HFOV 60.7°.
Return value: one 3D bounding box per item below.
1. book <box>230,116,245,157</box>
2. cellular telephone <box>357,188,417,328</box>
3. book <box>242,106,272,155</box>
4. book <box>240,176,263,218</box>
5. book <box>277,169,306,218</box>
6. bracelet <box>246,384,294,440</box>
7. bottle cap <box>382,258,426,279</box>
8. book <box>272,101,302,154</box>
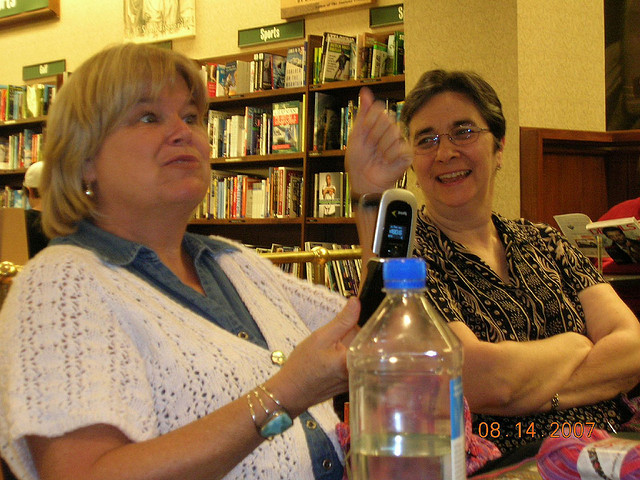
[{"bbox_3d":[-0.662,-0.838,4.433,0.111,0.328,0.324,1,1,5],"label":"book"},{"bbox_3d":[0.110,0.033,1.004,0.086,0.230,0.143,7,10,6],"label":"cellular telephone"},{"bbox_3d":[-0.500,-0.857,4.379,0.056,0.455,0.384,4,3,17],"label":"book"},{"bbox_3d":[-0.581,-0.351,4.454,0.056,0.260,0.248,4,5,6],"label":"book"},{"bbox_3d":[-0.219,-0.352,4.243,0.069,0.438,0.365,2,1,30],"label":"book"},{"bbox_3d":[-0.086,0.305,0.944,0.056,0.099,0.037,-28,-7,-2],"label":"bracelet"},{"bbox_3d":[0.108,0.037,0.699,0.052,0.024,0.020,-3,1,7],"label":"bottle cap"},{"bbox_3d":[-0.220,-0.861,4.314,0.270,0.386,0.198,5,4,31],"label":"book"}]
